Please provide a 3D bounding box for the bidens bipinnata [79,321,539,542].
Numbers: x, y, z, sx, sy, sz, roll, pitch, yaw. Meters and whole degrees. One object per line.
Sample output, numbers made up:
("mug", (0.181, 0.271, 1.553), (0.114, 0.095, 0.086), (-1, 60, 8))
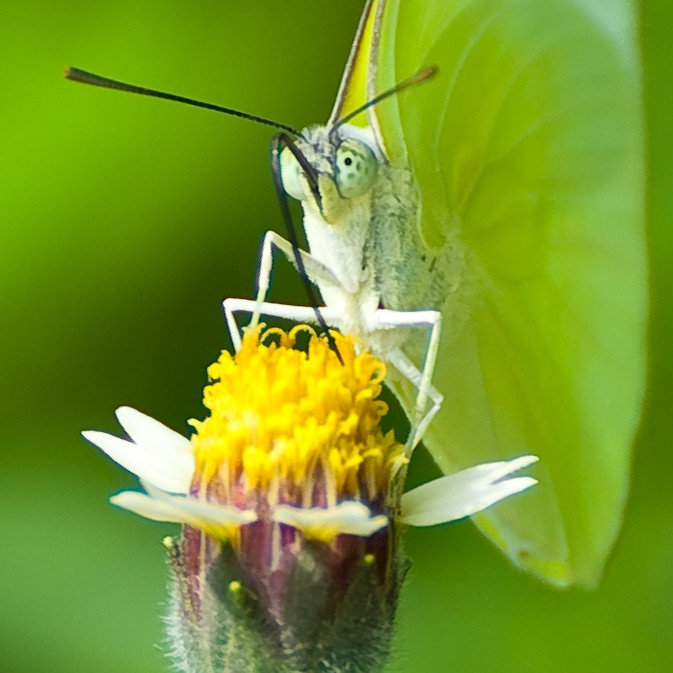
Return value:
("bidens bipinnata", (-0.050, 0.147, 1.264), (0.312, 0.144, 0.310), (11, -12, -38))
